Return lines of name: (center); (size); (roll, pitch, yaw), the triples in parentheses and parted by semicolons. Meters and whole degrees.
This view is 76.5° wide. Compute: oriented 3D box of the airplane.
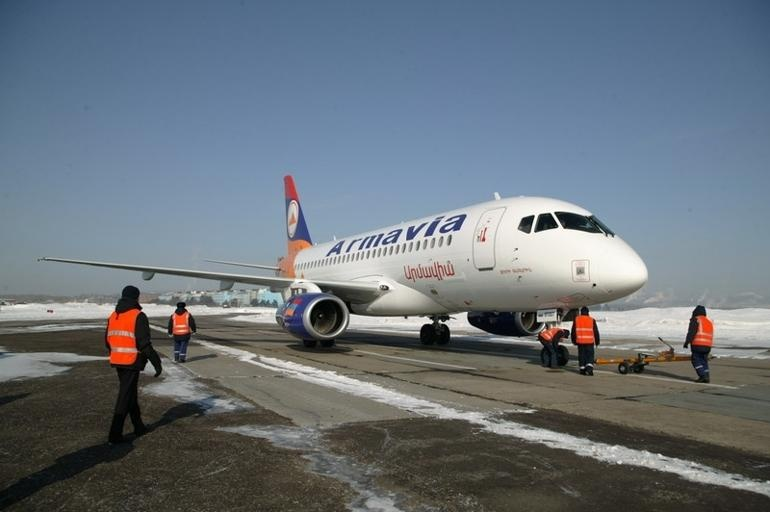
airplane: (-0.172, 0.902, 18.496); (7.072, 5.468, 16.161); (2, -2, -27)

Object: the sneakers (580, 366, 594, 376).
sneakers: (5.214, 2.964, 12.586); (0.291, 0.094, 0.324); (2, -4, 0)

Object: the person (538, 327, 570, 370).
person: (4.782, 2.589, 13.934); (0.691, 1.114, 0.741); (-1, -4, 23)

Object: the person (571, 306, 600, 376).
person: (5.354, 2.236, 13.142); (0.633, 1.753, 1.246); (0, -3, 21)

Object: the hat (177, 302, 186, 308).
hat: (-6.126, 1.465, 14.682); (0.287, 0.164, 0.212); (-5, 7, -18)
